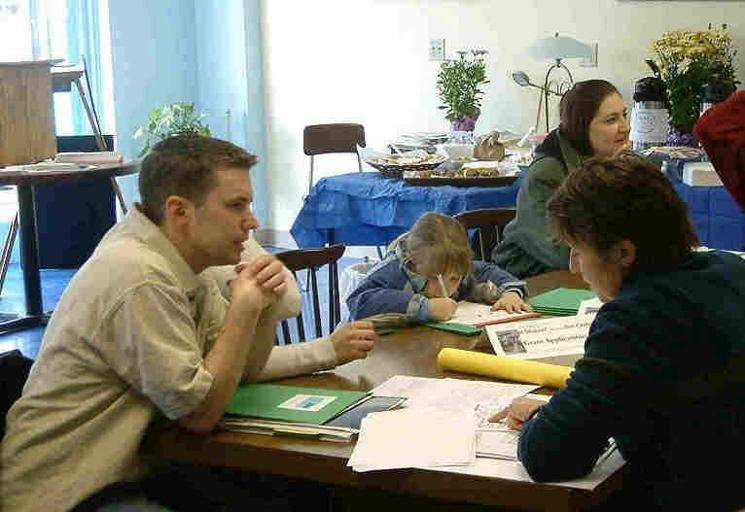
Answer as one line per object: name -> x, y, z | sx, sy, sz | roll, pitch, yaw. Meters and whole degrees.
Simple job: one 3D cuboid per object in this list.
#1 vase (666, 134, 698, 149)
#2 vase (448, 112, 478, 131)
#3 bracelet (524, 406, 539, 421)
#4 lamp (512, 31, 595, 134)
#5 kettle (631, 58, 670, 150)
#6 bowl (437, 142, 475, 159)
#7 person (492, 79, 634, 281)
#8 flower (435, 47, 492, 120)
vase -> 1.620, -0.603, 3.284 | 0.176, 0.078, 0.113 | 8, 16, 40
vase -> 0.620, -0.890, 4.265 | 0.150, 0.096, 0.133 | -2, 10, -10
bracelet -> 0.283, 0.277, 1.114 | 0.025, 0.008, 0.018 | -43, 7, -5
lamp -> 1.250, -1.107, 4.334 | 0.553, 0.738, 0.497 | 6, 3, 15
kettle -> 1.322, -0.674, 3.003 | 0.181, 0.331, 0.154 | -1, 14, 5
bowl -> 0.464, -0.564, 3.451 | 0.180, 0.082, 0.092 | 2, 13, 17
person -> 0.799, -0.139, 2.603 | 0.542, 1.074, 0.466 | 7, 25, 29
flower -> 0.670, -1.243, 4.602 | 0.336, 0.525, 0.844 | 0, 13, 10
